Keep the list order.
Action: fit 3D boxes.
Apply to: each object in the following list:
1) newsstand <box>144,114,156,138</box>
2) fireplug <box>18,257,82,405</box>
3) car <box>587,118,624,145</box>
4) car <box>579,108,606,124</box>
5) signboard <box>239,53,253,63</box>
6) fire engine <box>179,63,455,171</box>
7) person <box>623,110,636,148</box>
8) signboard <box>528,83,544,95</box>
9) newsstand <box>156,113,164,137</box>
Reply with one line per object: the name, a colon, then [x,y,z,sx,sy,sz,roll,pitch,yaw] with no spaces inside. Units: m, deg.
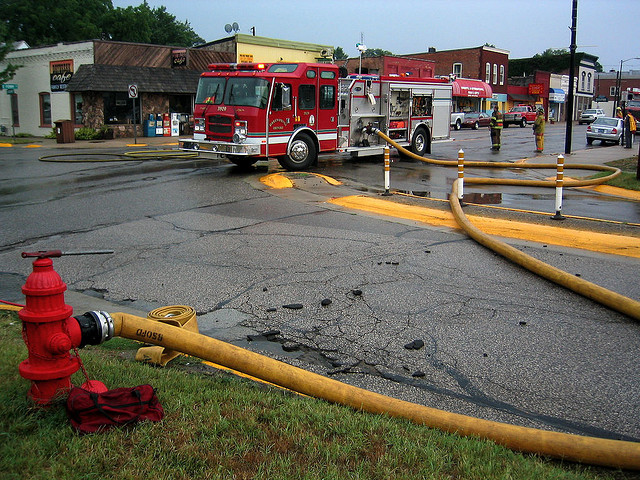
newsstand: [-11.371,-7.749,32.903,0.744,1.478,0.322,-2,11,-20]
fireplug: [-2.096,0.696,3.789,0.461,1.118,0.325,-3,12,-25]
car: [18.644,-7.193,31.717,2.090,1.612,1.526,6,11,20]
car: [32.076,-14.726,56.997,4.573,1.692,2.094,-10,13,-38]
signboard: [-5.325,-13.461,35.750,0.967,0.804,1.777,0,11,-9]
fire engine: [0.868,-4.988,19.786,12.517,4.108,3.121,-8,15,-42]
person: [18.239,-6.484,28.725,0.536,1.981,1.455,8,12,30]
signboard: [32.322,-22.731,72.826,2.119,1.359,0.290,6,23,24]
newsstand: [-10.829,-7.847,33.253,0.518,1.438,0.215,-3,12,-24]
